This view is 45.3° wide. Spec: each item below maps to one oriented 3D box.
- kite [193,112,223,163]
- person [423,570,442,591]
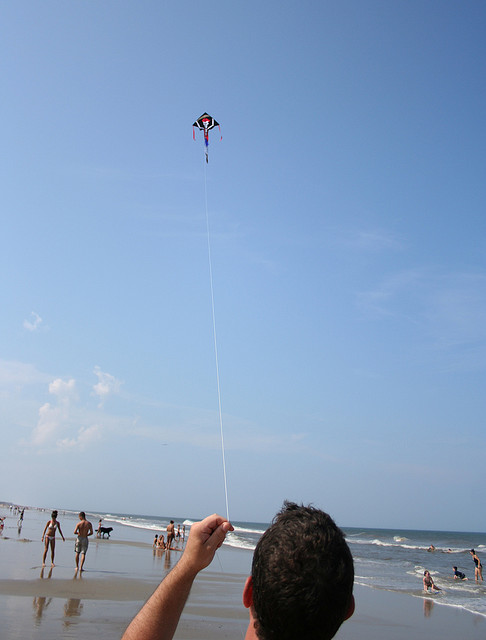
[{"bbox_3d":[-0.516,-2.644,8.506,0.415,0.101,0.933,-4,-35,-4],"label":"kite"},{"bbox_3d":[5.740,7.967,17.836,0.398,0.581,1.130,-2,-18,16],"label":"person"}]
